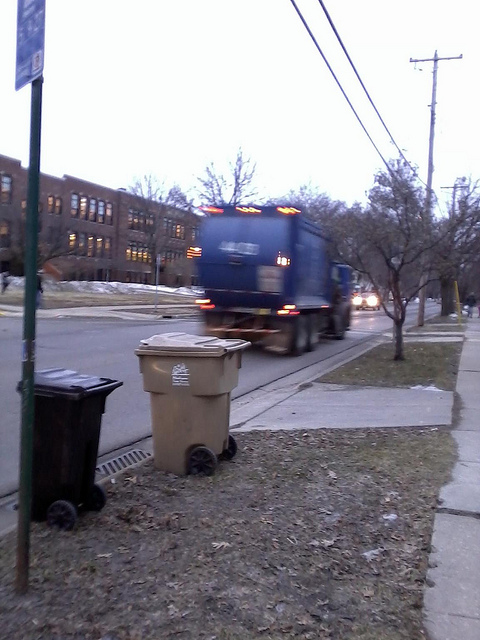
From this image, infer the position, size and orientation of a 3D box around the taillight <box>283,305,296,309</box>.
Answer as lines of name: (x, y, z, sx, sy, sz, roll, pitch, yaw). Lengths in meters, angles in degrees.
taillight: (1.246, -0.354, 12.118, 0.331, 0.097, 0.096, 0, 0, -30)

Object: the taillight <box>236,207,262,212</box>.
taillight: (0.203, -2.851, 12.152, 0.599, 0.146, 0.105, 0, 0, 18)

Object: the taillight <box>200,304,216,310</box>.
taillight: (-0.849, -0.377, 12.669, 0.264, 0.109, 0.175, 1, 3, 13)

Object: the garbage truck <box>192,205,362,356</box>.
garbage truck: (1.485, -1.160, 15.134, 3.111, 3.740, 6.599, 6, 5, 25)

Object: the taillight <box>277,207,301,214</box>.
taillight: (1.198, -2.780, 11.951, 0.531, 0.180, 0.154, 0, 0, 2)
